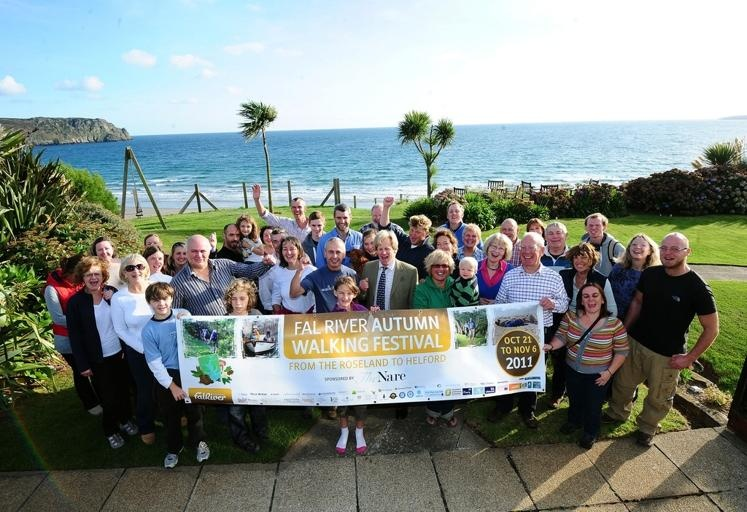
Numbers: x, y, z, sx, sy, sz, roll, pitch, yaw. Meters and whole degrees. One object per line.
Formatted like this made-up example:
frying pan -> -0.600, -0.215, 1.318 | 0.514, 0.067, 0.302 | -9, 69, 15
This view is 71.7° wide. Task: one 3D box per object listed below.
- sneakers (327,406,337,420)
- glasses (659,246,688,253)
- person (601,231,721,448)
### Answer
sneakers -> -0.727, 2.745, 9.087 | 0.135, 0.181, 0.176 | 4, 12, 9
glasses -> 4.676, -0.105, 8.025 | 0.370, 0.111, 0.142 | 6, 18, 26
person -> 4.605, 1.309, 8.282 | 1.362, 3.317, 0.839 | 6, 19, 27
